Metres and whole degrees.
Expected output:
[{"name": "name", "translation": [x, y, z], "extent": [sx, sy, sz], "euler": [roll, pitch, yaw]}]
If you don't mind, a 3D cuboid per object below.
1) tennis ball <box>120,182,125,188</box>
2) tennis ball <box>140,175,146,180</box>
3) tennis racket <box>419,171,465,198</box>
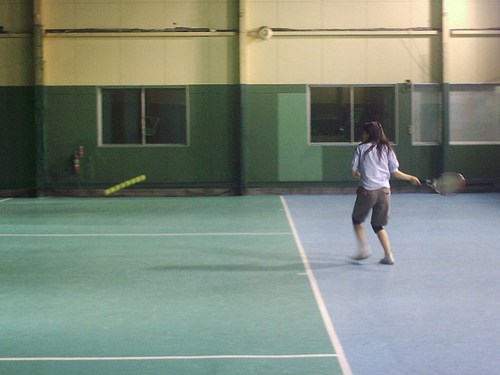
[{"name": "tennis ball", "translation": [-3.733, -0.034, 19.679], "extent": [0.132, 0.182, 0.247], "euler": [-4, 13, -11]}, {"name": "tennis ball", "translation": [-3.154, -0.276, 19.836], "extent": [0.121, 0.138, 0.113], "euler": [-1, 14, 0]}, {"name": "tennis racket", "translation": [3.594, -0.054, 12.161], "extent": [0.560, 0.422, 0.591], "euler": [2, 13, 14]}]
